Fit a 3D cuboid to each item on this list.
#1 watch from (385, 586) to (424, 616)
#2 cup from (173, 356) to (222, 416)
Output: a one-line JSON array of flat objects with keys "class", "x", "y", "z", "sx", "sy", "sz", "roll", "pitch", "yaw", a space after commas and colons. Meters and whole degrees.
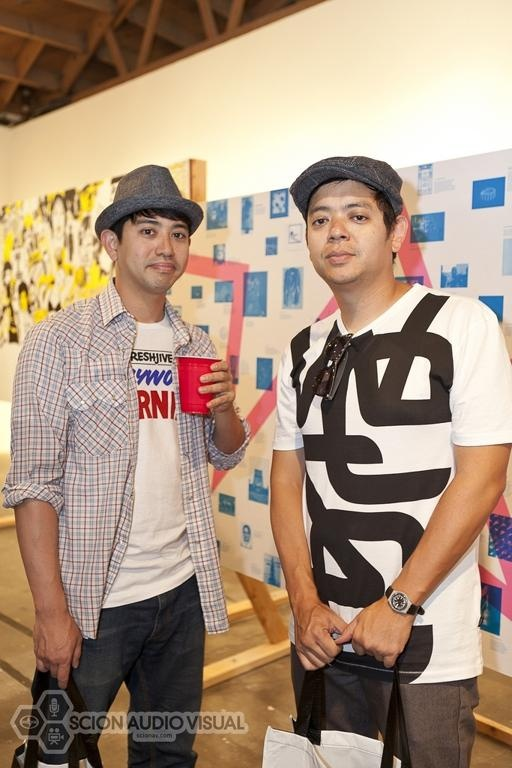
[{"class": "watch", "x": 0.245, "y": 0.349, "z": 0.992, "sx": 0.055, "sy": 0.042, "sz": 0.054, "roll": 14, "pitch": -5, "yaw": 7}, {"class": "cup", "x": -0.143, "y": 0.000, "z": 1.282, "sx": 0.113, "sy": 0.123, "sz": 0.114, "roll": 3, "pitch": 1, "yaw": 0}]
